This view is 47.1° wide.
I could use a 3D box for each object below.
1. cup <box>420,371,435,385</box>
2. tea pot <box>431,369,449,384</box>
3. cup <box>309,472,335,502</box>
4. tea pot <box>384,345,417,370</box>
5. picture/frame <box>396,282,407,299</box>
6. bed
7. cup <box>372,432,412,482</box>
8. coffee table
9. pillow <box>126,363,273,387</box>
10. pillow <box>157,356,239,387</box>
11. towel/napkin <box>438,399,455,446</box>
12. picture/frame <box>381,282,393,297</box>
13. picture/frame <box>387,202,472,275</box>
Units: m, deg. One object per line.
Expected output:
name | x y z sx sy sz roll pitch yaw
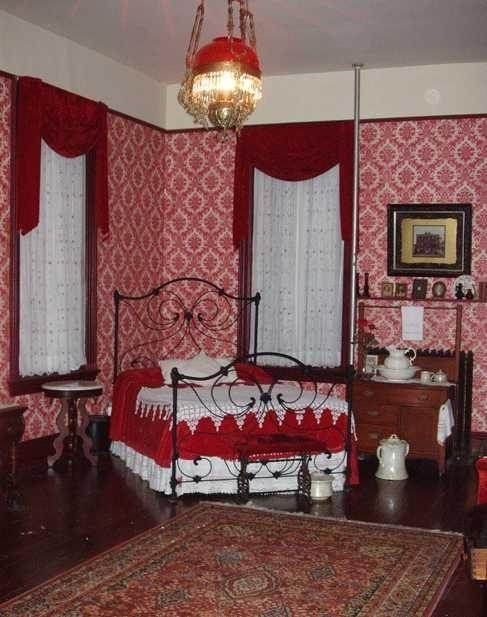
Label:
cup | 1.580 0.594 4.832 0.131 0.087 0.078 1 -1 8
tea pot | 1.715 0.605 4.872 0.110 0.155 0.166 2 -6 -14
cup | 0.500 1.132 3.592 0.160 0.131 0.164 1 -3 0
tea pot | 1.389 0.430 4.977 0.286 0.252 0.209 1 0 15
picture/frame | 1.522 -0.171 5.391 0.157 0.209 0.021 0 -1 6
bed | -0.154 0.504 4.612 1.532 1.524 2.086 -1 -1 -22
cup | 1.138 1.143 4.318 0.291 0.341 0.321 -2 -6 33
coffee table | -1.373 0.923 4.475 0.450 0.666 0.641 3 -5 -14
pillow | -0.553 0.567 4.648 0.590 0.133 0.551 1 -4 -31
pillow | -0.379 0.448 4.614 0.422 0.119 0.350 0 21 -39
towel/napkin | 1.642 0.926 4.546 0.083 0.285 0.436 -1 5 33
picture/frame | 1.398 -0.189 5.439 0.139 0.181 0.020 3 1 24
picture/frame | 1.819 -0.669 5.364 0.735 0.686 0.055 1 -1 14
